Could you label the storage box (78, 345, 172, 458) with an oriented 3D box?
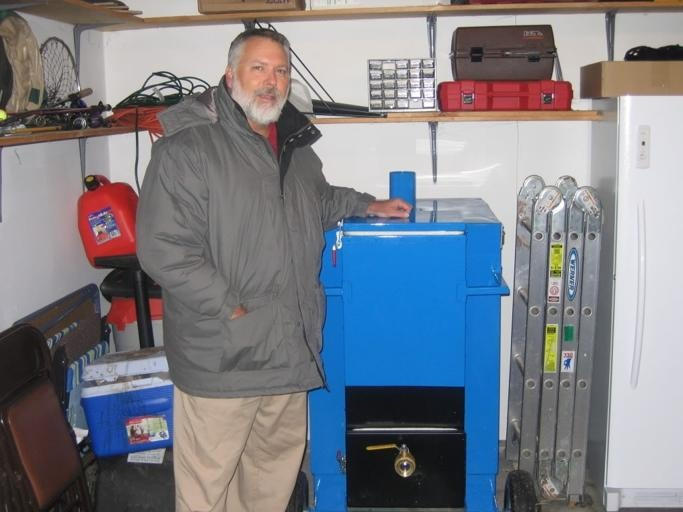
[{"bbox_3d":[-1.101,0.757,3.122,0.443,0.467,0.326,-3,-5,-26],"label":"storage box"}]
